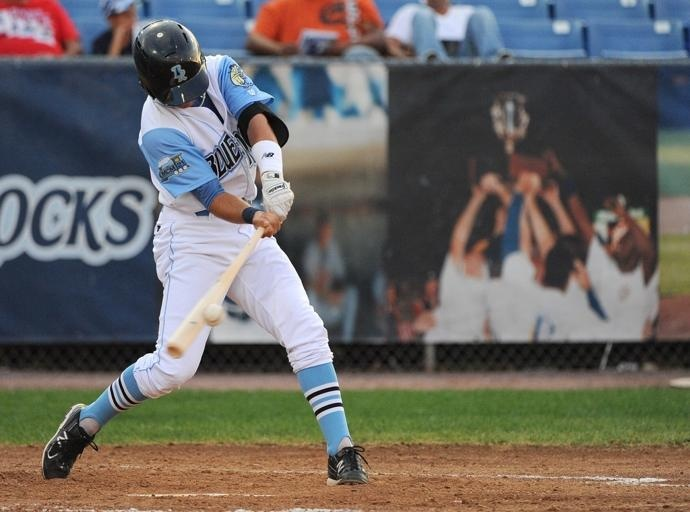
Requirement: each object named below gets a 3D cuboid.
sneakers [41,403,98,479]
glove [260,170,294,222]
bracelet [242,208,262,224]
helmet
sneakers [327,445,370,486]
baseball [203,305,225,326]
[{"bbox_3d":[-1.641,1.144,8.617,0.209,0.189,0.517,-5,49,19],"label":"sneakers"},{"bbox_3d":[-0.390,-0.348,8.315,0.164,0.294,0.208,-6,16,-5],"label":"glove"},{"bbox_3d":[-0.533,-0.226,8.233,0.070,0.087,0.088,8,-18,0],"label":"bracelet"},{"bbox_3d":[-0.996,-1.098,8.480,0.371,0.493,0.368,-21,-12,-5],"label":"helmet"},{"bbox_3d":[0.003,1.197,8.336,0.228,0.223,0.160,-5,16,-4],"label":"sneakers"},{"bbox_3d":[-0.712,0.320,7.931,0.111,0.109,0.110,-2,7,13],"label":"baseball"}]
